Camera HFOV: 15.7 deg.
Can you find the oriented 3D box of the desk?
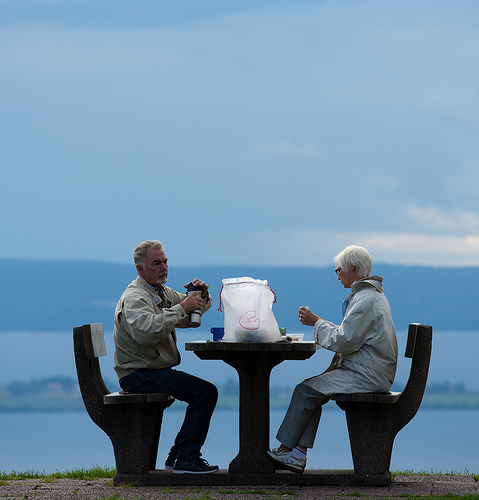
[{"bbox_3d":[0.340,3.378,38.455,1.845,3.617,2.483,-3,-8,30],"label":"desk"}]

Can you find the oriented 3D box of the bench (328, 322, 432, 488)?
[{"bbox_3d":[3.108,3.367,38.563,2.205,3.311,1.601,0,-4,19],"label":"bench"}]

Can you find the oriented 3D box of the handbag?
[{"bbox_3d":[0.229,1.342,38.356,1.278,1.522,0.843,-4,17,3],"label":"handbag"}]

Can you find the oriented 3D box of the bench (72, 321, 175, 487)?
[{"bbox_3d":[-2.465,3.462,38.975,2.019,3.522,1.945,-2,-7,6],"label":"bench"}]

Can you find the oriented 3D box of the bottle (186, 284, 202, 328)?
[{"bbox_3d":[-0.947,1.246,38.281,0.342,0.937,0.397,1,2,-2],"label":"bottle"}]
